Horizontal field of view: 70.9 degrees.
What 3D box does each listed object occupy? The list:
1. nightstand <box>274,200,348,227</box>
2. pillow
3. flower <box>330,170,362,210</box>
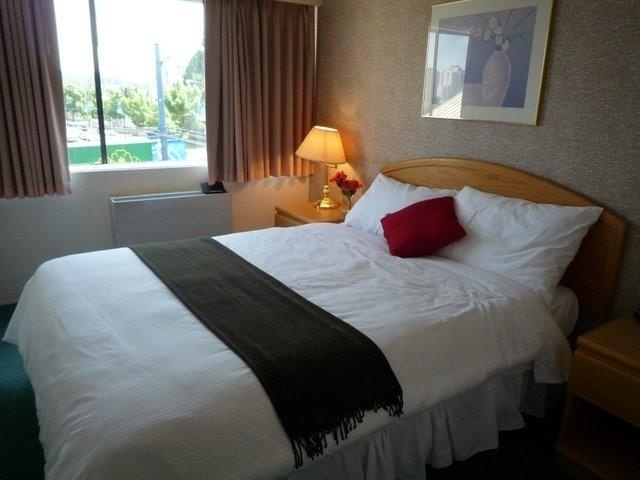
[{"bbox_3d":[-0.074,-0.257,4.359,0.306,0.220,0.442,-9,18,-29],"label":"nightstand"},{"bbox_3d":[1.028,-0.072,3.141,0.473,0.525,1.496,-18,24,-42],"label":"pillow"},{"bbox_3d":[0.237,-0.488,4.303,0.334,0.416,0.391,7,8,33],"label":"flower"}]
